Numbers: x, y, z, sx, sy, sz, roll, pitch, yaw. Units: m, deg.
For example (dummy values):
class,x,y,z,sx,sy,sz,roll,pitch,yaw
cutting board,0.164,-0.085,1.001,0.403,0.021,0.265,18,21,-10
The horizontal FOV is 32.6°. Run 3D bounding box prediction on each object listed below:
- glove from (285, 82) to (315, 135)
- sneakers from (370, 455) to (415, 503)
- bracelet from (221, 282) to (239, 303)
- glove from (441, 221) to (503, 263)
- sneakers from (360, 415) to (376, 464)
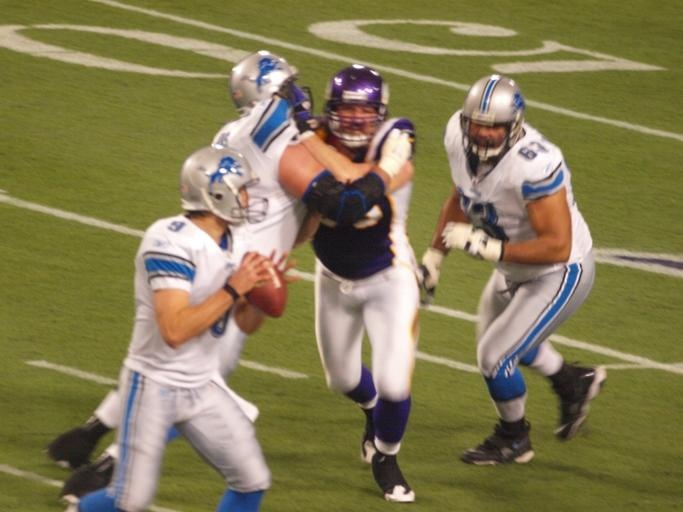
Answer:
class,x,y,z,sx,sy,sz,roll,pitch,yaw
glove,-0.287,-0.988,7.935,0.251,0.169,0.569,1,36,-9
sneakers,0.362,1.587,8.408,0.193,0.188,0.489,-8,18,-27
bracelet,-0.727,0.232,7.566,0.131,0.123,0.085,19,28,33
glove,0.936,-0.103,8.376,0.432,0.136,0.245,14,25,13
sneakers,0.170,1.377,8.744,0.147,0.317,0.158,4,1,-2
